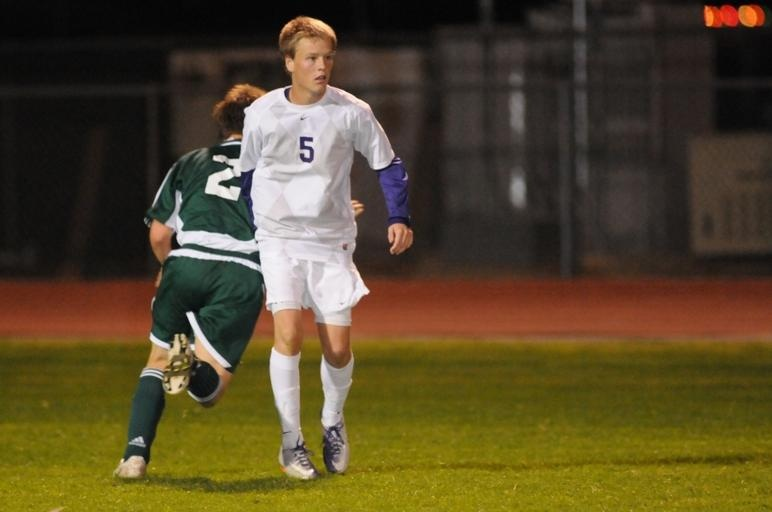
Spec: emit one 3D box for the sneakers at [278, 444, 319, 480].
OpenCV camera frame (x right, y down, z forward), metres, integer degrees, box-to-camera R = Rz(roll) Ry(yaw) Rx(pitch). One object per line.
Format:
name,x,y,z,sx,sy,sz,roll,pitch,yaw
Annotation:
sneakers,-0.850,1.965,14.041,0.195,0.218,0.528,-6,8,-34

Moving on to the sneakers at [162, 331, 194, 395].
sneakers,-1.988,1.018,13.976,0.223,0.601,0.251,0,-8,-1
